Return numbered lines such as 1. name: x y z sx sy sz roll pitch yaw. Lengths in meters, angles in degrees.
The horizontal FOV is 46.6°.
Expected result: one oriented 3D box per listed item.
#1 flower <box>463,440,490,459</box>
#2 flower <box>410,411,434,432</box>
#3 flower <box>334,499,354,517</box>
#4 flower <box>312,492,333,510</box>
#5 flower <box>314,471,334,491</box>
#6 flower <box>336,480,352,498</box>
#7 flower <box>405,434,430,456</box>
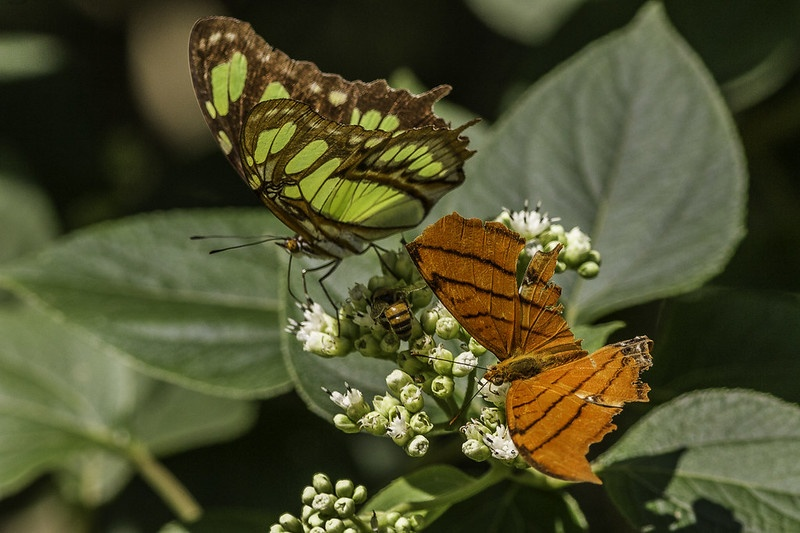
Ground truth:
1. flower: 0.298 0.737 3.688 0.093 0.059 0.069 29 8 -21
2. flower: 0.084 0.647 3.790 0.067 0.064 0.085 -25 34 -16
3. flower: -0.227 0.972 3.710 0.056 0.078 0.064 -10 71 38
4. flower: -0.313 0.953 3.716 0.086 0.025 0.069 5 69 7
5. flower: -0.317 0.887 3.777 0.079 0.056 0.048 43 54 -15
6. flower: -0.229 0.905 3.748 0.058 0.065 0.071 9 33 10
7. flower: 0.067 0.732 3.771 0.072 0.094 0.084 -1 77 -22
